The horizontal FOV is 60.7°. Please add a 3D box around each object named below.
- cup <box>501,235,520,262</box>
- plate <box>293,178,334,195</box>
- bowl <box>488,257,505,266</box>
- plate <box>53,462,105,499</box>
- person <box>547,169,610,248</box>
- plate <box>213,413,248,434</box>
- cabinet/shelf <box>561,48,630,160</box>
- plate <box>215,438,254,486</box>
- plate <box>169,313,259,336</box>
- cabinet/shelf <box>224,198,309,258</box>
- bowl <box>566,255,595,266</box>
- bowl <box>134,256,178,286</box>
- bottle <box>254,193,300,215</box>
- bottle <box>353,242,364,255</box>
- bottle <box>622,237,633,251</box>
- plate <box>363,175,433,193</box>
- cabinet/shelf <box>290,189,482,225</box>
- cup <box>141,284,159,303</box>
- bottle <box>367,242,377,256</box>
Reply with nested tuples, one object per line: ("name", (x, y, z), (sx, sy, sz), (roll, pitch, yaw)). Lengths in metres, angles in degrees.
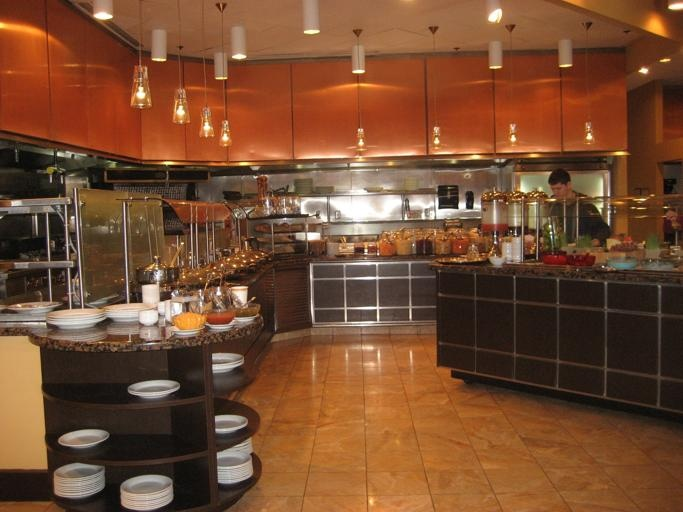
("cup", (1.599, -0.064, 5.455), (0.174, 0.237, 0.118), (0, 12, 11))
("plate", (-0.422, -1.056, 8.859), (0.560, 0.170, 0.283), (1, 5, 0))
("bowl", (1.434, 0.043, 5.404), (0.120, 0.055, 0.115), (0, 2, 0))
("plate", (-1.631, 1.377, 3.597), (0.294, 0.135, 0.232), (1, 10, 13))
("person", (2.618, -0.664, 6.625), (0.498, 0.619, 3.501), (1, 9, 19))
("plate", (-0.710, 1.067, 3.744), (0.170, 0.024, 0.144), (0, 7, -13))
("cabinet/shelf", (3.462, -2.104, 7.963), (0.841, 1.345, 0.193), (-2, 12, 1))
("plate", (-0.680, 1.294, 3.725), (0.313, 0.097, 0.299), (-1, -3, -4))
("plate", (-0.746, 0.399, 3.571), (0.589, 0.081, 0.220), (-6, 10, -26))
("cabinet/shelf", (-1.003, -0.344, 7.721), (0.900, 0.781, 1.452), (0, 2, 29))
("bowl", (2.072, 0.032, 5.058), (0.121, 0.092, 0.197), (-10, 12, -37))
("bowl", (-1.357, 0.101, 4.333), (0.272, 0.144, 0.268), (0, 3, 0))
("bottle", (-0.826, -0.654, 7.408), (0.667, 0.268, 0.370), (-6, 11, -24))
("bottle", (0.222, -0.103, 8.083), (0.161, 0.164, 0.212), (-1, -1, 22))
("bottle", (2.410, -0.098, 4.890), (0.016, 0.120, 0.090), (-11, 14, -34))
("plate", (0.880, -1.066, 8.833), (1.076, 0.265, 0.560), (-1, 9, 2))
("cabinet/shelf", (0.736, -0.744, 9.022), (2.754, 0.448, 0.330), (-2, 11, -3))
("cup", (-1.314, 0.254, 4.025), (0.147, 0.119, 0.130), (-2, 6, -25))
("bottle", (0.369, -0.091, 7.877), (0.190, 0.191, 0.160), (-1, 6, -5))
